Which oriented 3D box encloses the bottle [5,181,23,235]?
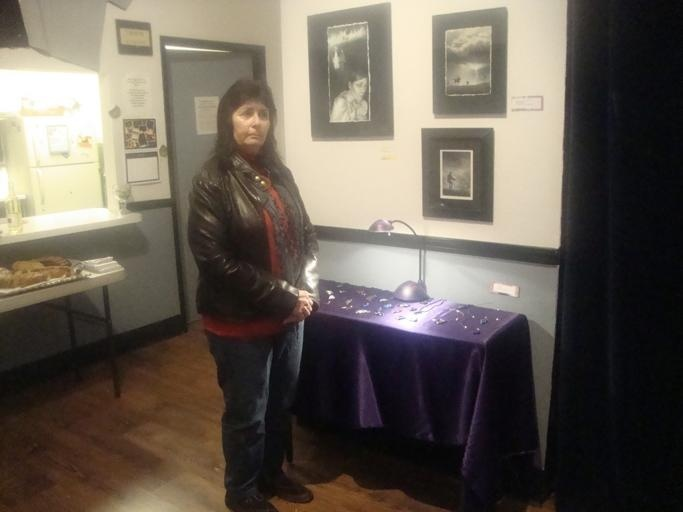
[{"bbox_3d":[-2.141,-0.329,3.273,0.086,0.314,0.347,-9,16,-32],"label":"bottle"}]

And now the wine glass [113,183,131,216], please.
[{"bbox_3d":[-1.617,-0.422,3.746,0.112,0.209,0.135,-6,15,-23],"label":"wine glass"}]

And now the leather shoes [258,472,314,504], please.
[{"bbox_3d":[-0.250,1.089,2.415,0.298,0.128,0.105,1,5,21],"label":"leather shoes"}]

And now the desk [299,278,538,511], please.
[{"bbox_3d":[0.383,0.681,2.542,1.183,0.813,0.678,8,16,32],"label":"desk"}]
